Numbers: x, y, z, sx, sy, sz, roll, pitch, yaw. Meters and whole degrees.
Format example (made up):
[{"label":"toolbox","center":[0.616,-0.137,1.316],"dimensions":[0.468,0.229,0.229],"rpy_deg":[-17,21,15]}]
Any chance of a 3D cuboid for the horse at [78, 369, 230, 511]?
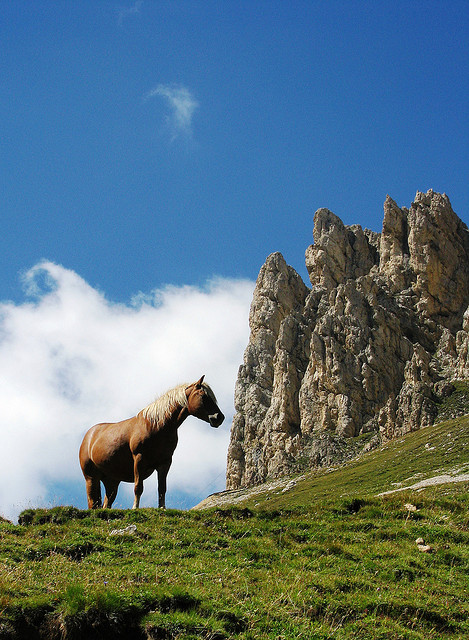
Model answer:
[{"label":"horse","center":[-5.240,7.459,84.588],"dimensions":[8.422,6.831,1.829],"rpy_deg":[-11,-15,30]}]
